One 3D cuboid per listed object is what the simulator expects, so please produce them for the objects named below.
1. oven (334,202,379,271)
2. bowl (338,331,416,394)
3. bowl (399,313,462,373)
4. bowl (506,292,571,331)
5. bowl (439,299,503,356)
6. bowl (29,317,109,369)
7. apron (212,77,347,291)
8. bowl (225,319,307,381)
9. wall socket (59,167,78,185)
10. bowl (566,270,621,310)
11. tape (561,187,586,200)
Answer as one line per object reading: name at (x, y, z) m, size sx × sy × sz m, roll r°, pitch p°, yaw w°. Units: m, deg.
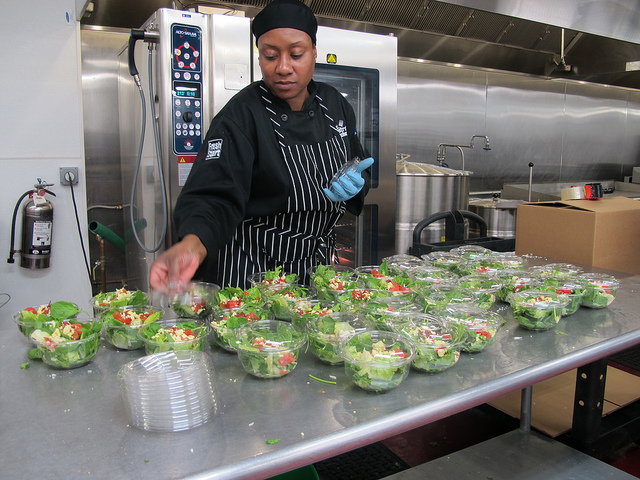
oven at (0.271, -0.055, 2.983) m, size 0.292 × 0.426 × 0.299 m, roll 0°, pitch 12°, yaw 6°
bowl at (0.135, 0.287, 1.004) m, size 0.182 × 0.114 × 0.153 m, roll -1°, pitch 12°, yaw 2°
bowl at (0.269, 0.272, 1.070) m, size 0.168 × 0.074 × 0.152 m, roll 9°, pitch 12°, yaw 25°
bowl at (0.676, 0.217, 1.302) m, size 0.207 × 0.098 × 0.178 m, roll 0°, pitch 2°, yaw 15°
bowl at (0.442, 0.249, 1.176) m, size 0.168 × 0.082 × 0.167 m, roll -12°, pitch 2°, yaw 0°
bowl at (-0.654, 0.258, 1.083) m, size 0.171 × 0.100 × 0.169 m, roll 6°, pitch 7°, yaw -1°
apron at (-0.213, -0.250, 1.816) m, size 0.482 × 0.943 × 0.492 m, roll -6°, pitch 23°, yaw -28°
bowl at (-0.133, 0.271, 1.074) m, size 0.193 × 0.107 × 0.167 m, roll -6°, pitch 13°, yaw -21°
wall socket at (-1.643, -0.421, 2.755) m, size 0.109 × 0.106 × 0.027 m, roll -2°, pitch 8°, yaw -8°
bowl at (0.960, 0.163, 1.486) m, size 0.149 × 0.083 × 0.149 m, roll -1°, pitch 5°, yaw 0°
tape at (1.456, -0.264, 2.413) m, size 0.093 × 0.056 × 0.094 m, roll 0°, pitch 5°, yaw 17°
